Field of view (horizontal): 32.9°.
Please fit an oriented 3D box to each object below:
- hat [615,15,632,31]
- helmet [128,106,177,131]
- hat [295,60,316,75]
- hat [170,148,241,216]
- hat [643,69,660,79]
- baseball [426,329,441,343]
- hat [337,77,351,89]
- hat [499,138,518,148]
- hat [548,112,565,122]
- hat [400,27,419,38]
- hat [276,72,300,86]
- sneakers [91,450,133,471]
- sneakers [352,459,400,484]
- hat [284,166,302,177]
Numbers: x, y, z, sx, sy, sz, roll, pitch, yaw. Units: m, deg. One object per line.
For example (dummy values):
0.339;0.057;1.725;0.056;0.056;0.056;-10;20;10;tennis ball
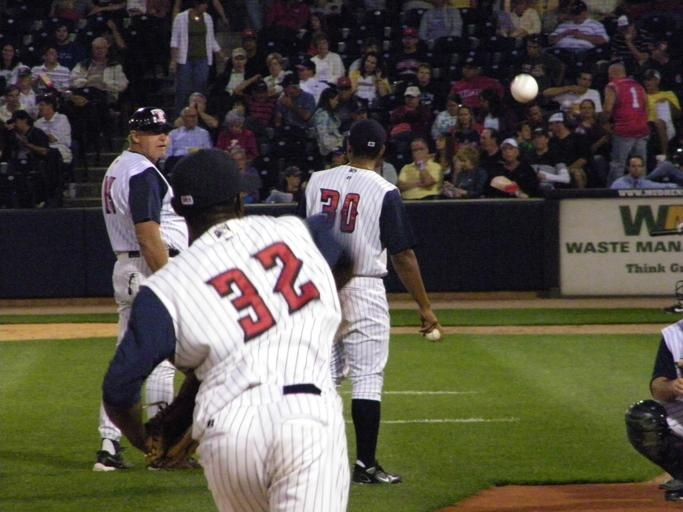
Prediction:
5.027;-4.142;20.640;0.302;0.344;0.111;1;-31;5;hat
-1.797;-1.221;10.591;0.359;0.157;0.266;-2;3;42;helmet
-0.586;-3.190;19.497;0.362;0.190;0.241;20;17;-2;hat
-0.982;-0.535;8.340;0.403;0.296;0.546;15;36;41;hat
5.180;-3.005;19.387;0.215;0.208;0.270;19;24;38;hat
0.834;0.719;10.426;0.124;0.108;0.113;0;23;-11;baseball
0.041;-2.831;18.985;0.218;0.145;0.265;0;13;1;hat
2.598;-1.732;17.786;0.213;0.153;0.244;-3;2;5;hat
3.472;-2.225;18.689;0.257;0.207;0.245;6;15;24;hat
1.195;-3.931;20.409;0.235;0.154;0.316;3;15;16;hat
-0.906;-2.919;19.216;0.373;0.188;0.266;-11;19;17;hat
-2.112;1.873;10.581;0.375;0.149;0.144;1;4;-17;sneakers
0.281;1.939;10.306;0.498;0.191;0.164;1;0;-5;sneakers
-0.747;-1.282;17.803;0.187;0.152;0.206;1;0;-5;hat
